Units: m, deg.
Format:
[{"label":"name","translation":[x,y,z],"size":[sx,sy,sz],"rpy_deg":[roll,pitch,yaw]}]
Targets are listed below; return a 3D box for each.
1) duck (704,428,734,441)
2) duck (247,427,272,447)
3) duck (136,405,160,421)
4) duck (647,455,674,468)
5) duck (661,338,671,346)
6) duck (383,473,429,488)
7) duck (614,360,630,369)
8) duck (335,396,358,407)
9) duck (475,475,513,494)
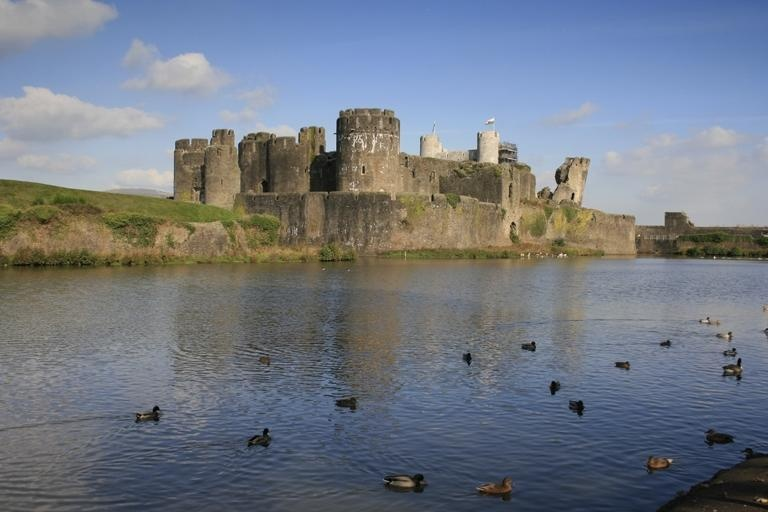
[{"label":"duck","translation":[7.391,3.979,17.189],"size":[0.589,0.241,0.400],"rpy_deg":[3,0,22]},{"label":"duck","translation":[-2.688,3.911,16.884],"size":[0.511,0.374,0.470],"rpy_deg":[3,0,-9]},{"label":"duck","translation":[-5.428,3.606,17.936],"size":[0.560,0.372,0.535],"rpy_deg":[3,0,-16]},{"label":"duck","translation":[5.751,4.310,16.258],"size":[0.629,0.238,0.311],"rpy_deg":[3,0,-23]},{"label":"duck","translation":[8.816,2.712,24.414],"size":[0.157,0.199,0.454],"rpy_deg":[-1,5,20]},{"label":"duck","translation":[0.424,4.452,15.514],"size":[0.697,0.247,0.309],"rpy_deg":[4,-13,2]},{"label":"duck","translation":[6.605,3.032,21.630],"size":[0.192,0.204,0.341],"rpy_deg":[-3,-2,-19]},{"label":"duck","translation":[-0.888,3.478,18.558],"size":[0.539,0.239,0.489],"rpy_deg":[3,0,3]},{"label":"duck","translation":[2.189,4.550,15.489],"size":[0.621,0.293,0.302],"rpy_deg":[0,-6,2]}]
